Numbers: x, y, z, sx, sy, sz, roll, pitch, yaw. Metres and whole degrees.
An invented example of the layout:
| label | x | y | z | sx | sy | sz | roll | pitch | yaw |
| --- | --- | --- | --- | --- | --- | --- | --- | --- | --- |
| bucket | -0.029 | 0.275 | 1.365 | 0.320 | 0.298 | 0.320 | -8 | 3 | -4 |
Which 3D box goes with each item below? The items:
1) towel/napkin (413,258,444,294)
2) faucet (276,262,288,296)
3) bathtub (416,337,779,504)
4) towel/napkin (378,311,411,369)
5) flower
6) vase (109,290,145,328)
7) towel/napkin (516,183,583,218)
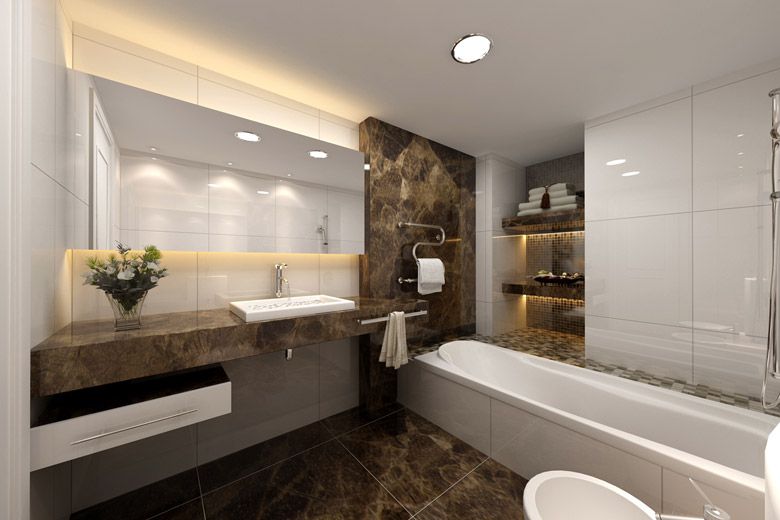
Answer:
| label | x | y | z | sx | sy | sz | roll | pitch | yaw |
| --- | --- | --- | --- | --- | --- | --- | --- | --- | --- |
| towel/napkin | 0.352 | 0.148 | 4.611 | 0.351 | 0.342 | 0.186 | 1 | 1 | -32 |
| faucet | -0.894 | 0.163 | 4.013 | 0.107 | 0.273 | 0.073 | -1 | 2 | -23 |
| bathtub | 1.416 | 1.202 | 3.716 | 2.394 | 0.788 | 0.831 | 1 | 2 | 39 |
| towel/napkin | 0.027 | 0.655 | 4.044 | 0.246 | 0.458 | 0.125 | -1 | 2 | -14 |
| flower | -1.835 | 0.159 | 3.352 | 0.465 | 0.541 | 0.354 | -2 | 2 | -32 |
| vase | -1.822 | 0.360 | 3.371 | 0.284 | 0.268 | 0.279 | -3 | -9 | -21 |
| towel/napkin | 1.628 | -0.612 | 4.957 | 0.425 | 0.216 | 0.419 | -4 | 4 | -39 |
